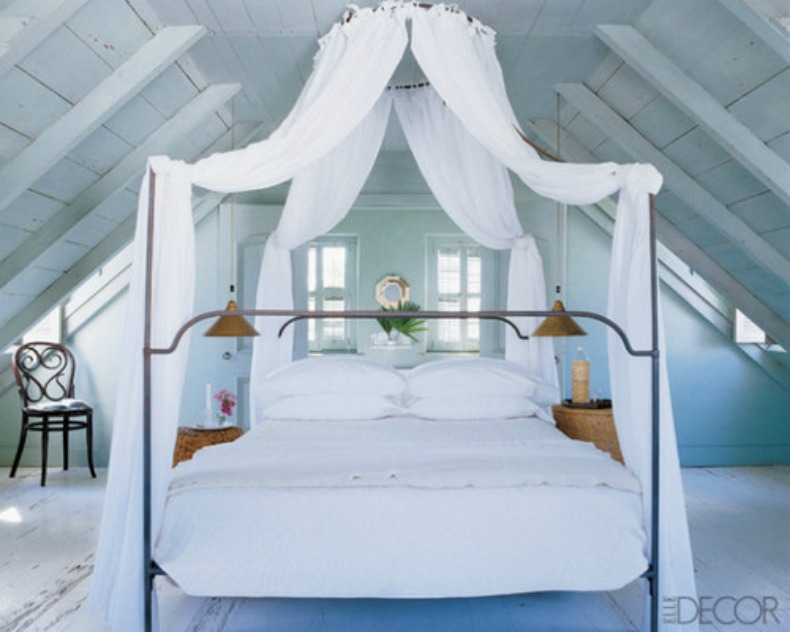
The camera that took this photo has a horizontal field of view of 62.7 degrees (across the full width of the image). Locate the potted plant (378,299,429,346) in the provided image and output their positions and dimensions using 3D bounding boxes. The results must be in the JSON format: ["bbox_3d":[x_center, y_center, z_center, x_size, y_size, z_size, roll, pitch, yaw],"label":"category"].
[{"bbox_3d":[0.037,0.049,5.651,0.365,0.281,0.379,-1,-6,28],"label":"potted plant"}]

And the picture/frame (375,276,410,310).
[{"bbox_3d":[-0.024,-0.220,6.183,0.281,0.342,0.080,3,-2,-9],"label":"picture/frame"}]
